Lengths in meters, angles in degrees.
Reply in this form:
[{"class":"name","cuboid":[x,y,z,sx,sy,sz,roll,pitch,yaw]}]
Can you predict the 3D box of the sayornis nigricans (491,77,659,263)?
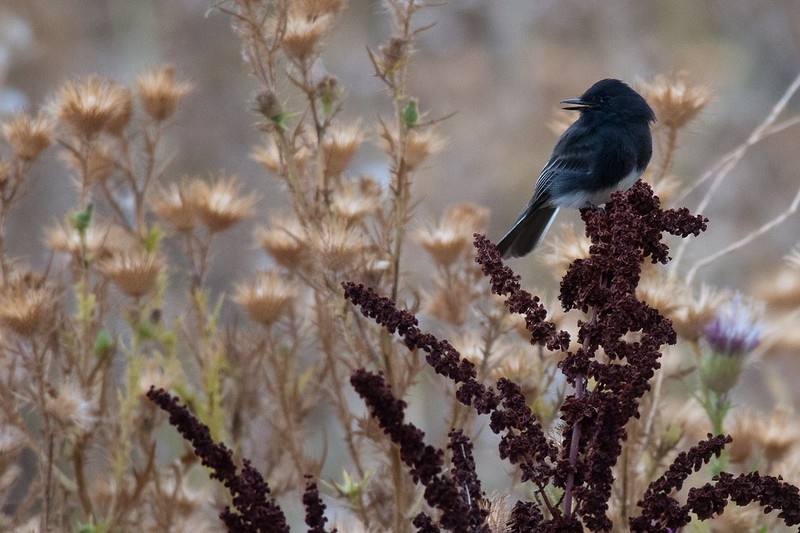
[{"class":"sayornis nigricans","cuboid":[0.398,-0.230,3.425,0.344,0.382,0.224,-3,0,23]}]
